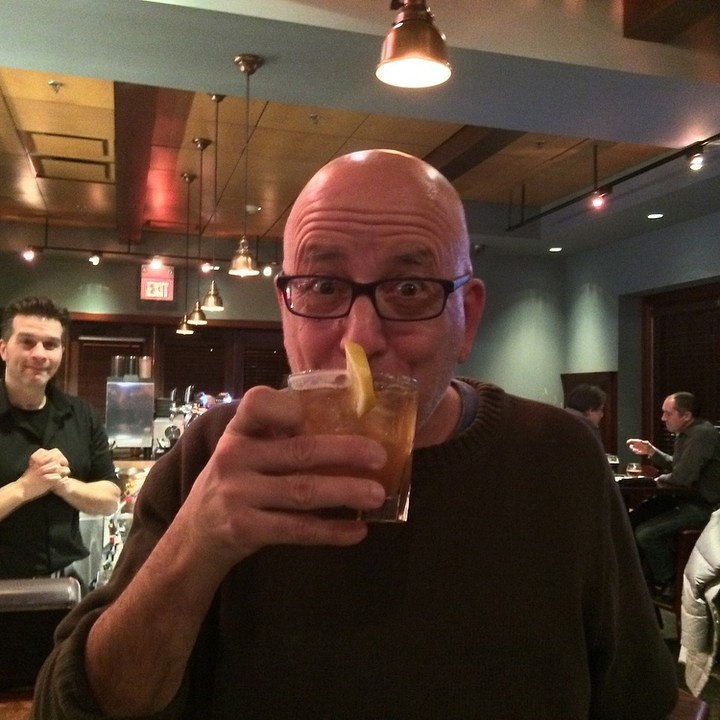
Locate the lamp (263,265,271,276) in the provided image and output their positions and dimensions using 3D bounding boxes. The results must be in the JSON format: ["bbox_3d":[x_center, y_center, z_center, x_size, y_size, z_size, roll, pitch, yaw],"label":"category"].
[{"bbox_3d":[-1.294,-1.285,8.846,0.139,0.154,0.169,0,-18,-3],"label":"lamp"}]

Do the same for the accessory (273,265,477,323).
[{"bbox_3d":[0.043,-0.099,0.901,0.253,0.059,0.260,6,13,24],"label":"accessory"}]

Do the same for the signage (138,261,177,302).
[{"bbox_3d":[-3.000,-1.175,9.306,0.628,0.673,0.091,1,4,-6],"label":"signage"}]

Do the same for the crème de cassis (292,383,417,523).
[{"bbox_3d":[0.000,0.089,0.680,0.144,0.153,0.145,-3,-1,13],"label":"crème de cassis"}]

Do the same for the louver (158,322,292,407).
[{"bbox_3d":[-1.903,-0.002,8.148,1.246,0.838,0.089,3,-8,-15],"label":"louver"}]

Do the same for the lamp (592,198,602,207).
[{"bbox_3d":[2.251,-1.534,6.027,0.085,0.055,0.085,1,-14,1],"label":"lamp"}]

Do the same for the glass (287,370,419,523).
[{"bbox_3d":[0.007,0.097,0.663,0.149,0.157,0.151,-1,-15,-2],"label":"glass"}]
